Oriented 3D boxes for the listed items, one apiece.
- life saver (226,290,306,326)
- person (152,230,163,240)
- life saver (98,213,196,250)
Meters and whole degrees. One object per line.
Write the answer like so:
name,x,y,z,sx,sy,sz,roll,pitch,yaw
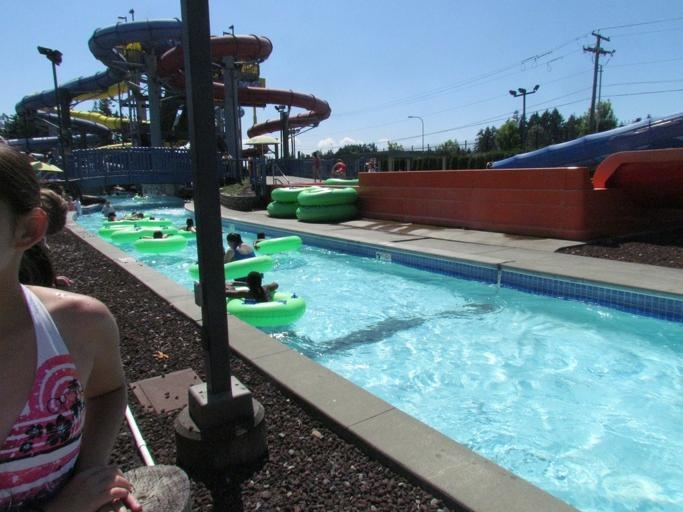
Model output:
life saver,-0.906,0.718,6.075,0.871,0.231,0.884,-8,1,30
person,-3.998,-0.447,10.683,0.232,0.138,0.761,-8,14,-21
life saver,-4.617,-0.487,11.525,1.331,0.306,2.211,0,15,-9
